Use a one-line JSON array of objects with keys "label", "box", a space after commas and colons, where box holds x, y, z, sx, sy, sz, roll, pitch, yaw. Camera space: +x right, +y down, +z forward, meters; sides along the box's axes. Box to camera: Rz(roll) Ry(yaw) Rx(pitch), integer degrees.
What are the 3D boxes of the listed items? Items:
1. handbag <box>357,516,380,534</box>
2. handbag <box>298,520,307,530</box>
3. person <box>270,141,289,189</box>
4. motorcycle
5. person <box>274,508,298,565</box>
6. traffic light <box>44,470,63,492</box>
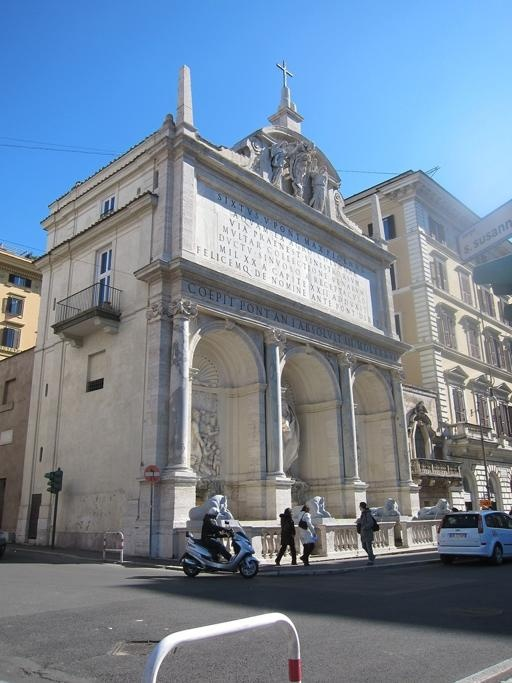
[{"label": "handbag", "box": [3.236, 5.298, 14.394, 0.405, 0.690, 0.677, 3, -17, -15]}, {"label": "handbag", "box": [1.454, 5.778, 15.489, 0.258, 0.251, 0.184, -7, -14, 40]}, {"label": "person", "box": [1.186, -9.294, 25.521, 1.003, 3.024, 0.264, 6, -18, -24]}, {"label": "motorcycle", "box": [-0.817, 5.097, 11.951, 1.933, 1.472, 0.957, -1, -35, -3]}, {"label": "person", "box": [0.889, 6.088, 15.401, 0.643, 1.641, 1.479, -2, -17, 2]}, {"label": "traffic light", "box": [-7.955, 5.537, 19.449, 0.570, 0.913, 1.034, 5, -18, -23]}]
